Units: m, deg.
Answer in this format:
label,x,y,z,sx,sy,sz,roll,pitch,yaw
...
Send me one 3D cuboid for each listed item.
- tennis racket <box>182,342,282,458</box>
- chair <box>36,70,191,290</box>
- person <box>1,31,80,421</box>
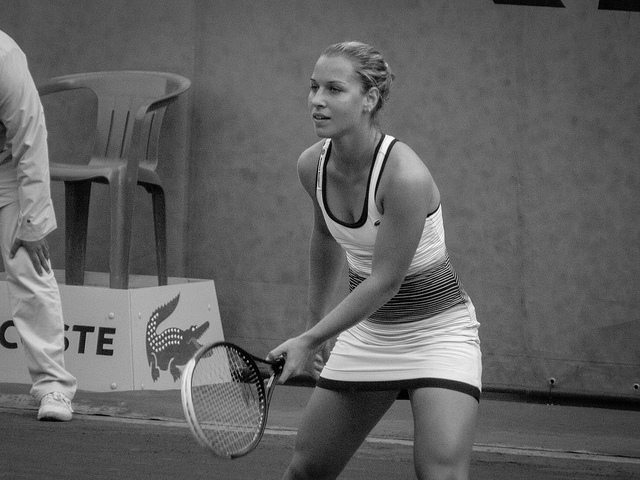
label,x,y,z,sx,sy,sz,roll,pitch,yaw
tennis racket,-0.295,0.538,3.048,0.247,0.393,0.541,6,11,17
chair,-1.373,-0.355,5.348,0.979,1.292,0.901,7,9,15
person,-1.468,-0.067,4.439,0.273,1.939,0.547,-6,14,-39
